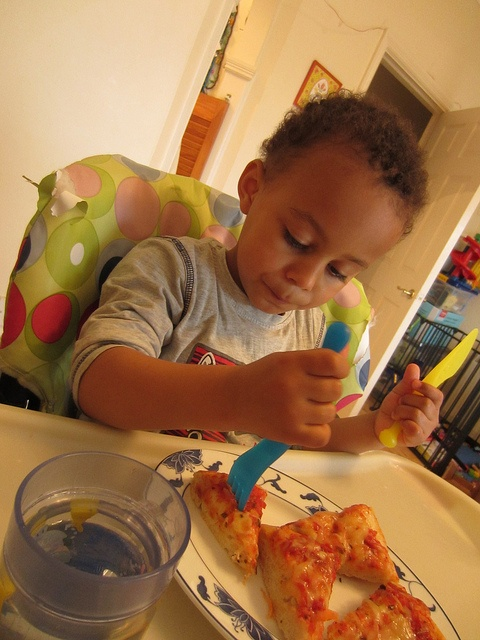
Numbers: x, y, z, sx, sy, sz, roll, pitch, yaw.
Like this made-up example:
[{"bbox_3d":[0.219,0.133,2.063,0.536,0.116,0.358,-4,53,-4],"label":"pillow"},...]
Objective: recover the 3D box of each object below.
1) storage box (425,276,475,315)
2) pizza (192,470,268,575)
[{"bbox_3d":[1.637,-0.178,3.855,0.328,0.205,0.326,-5,35,-45],"label":"storage box"},{"bbox_3d":[-0.012,0.184,0.467,0.052,0.025,0.081,-6,46,-45],"label":"pizza"}]
